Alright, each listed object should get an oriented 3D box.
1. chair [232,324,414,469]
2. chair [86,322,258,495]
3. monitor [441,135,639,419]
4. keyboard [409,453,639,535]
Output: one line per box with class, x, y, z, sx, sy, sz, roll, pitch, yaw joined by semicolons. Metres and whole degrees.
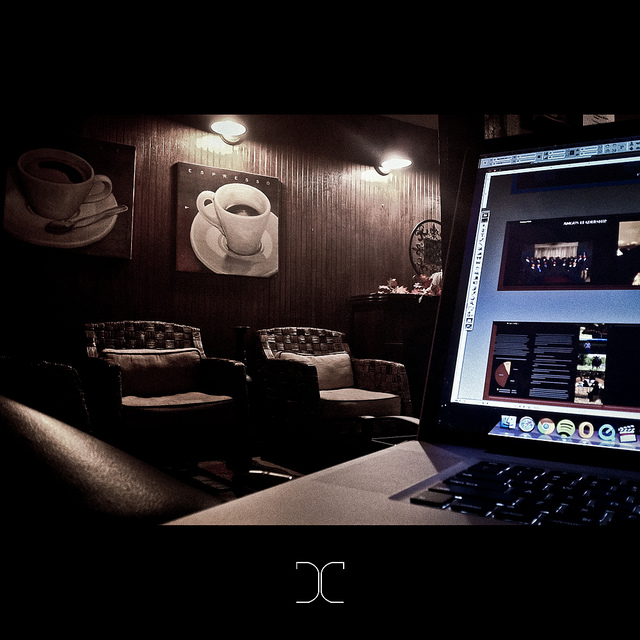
chair;-0.030;0.479;4.062;1.085;0.891;1.446;-5;5;-38
chair;-0.935;0.540;3.430;0.844;1.159;0.892;-2;-5;-22
monitor;0.256;-0.039;0.644;0.291;0.369;0.016;1;-8;29
keyboard;0.179;0.145;0.493;0.160;0.017;0.174;2;5;36
